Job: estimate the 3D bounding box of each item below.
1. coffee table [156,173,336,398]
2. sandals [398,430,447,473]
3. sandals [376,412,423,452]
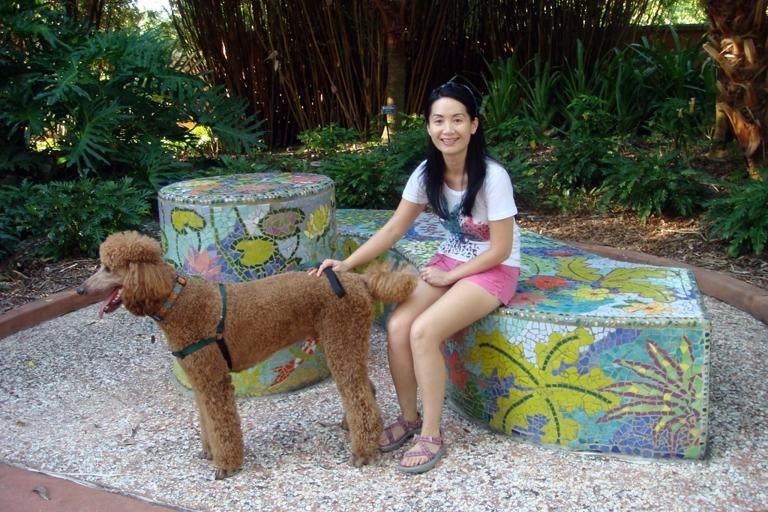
[{"bbox_3d":[-0.874,0.139,5.011,1.578,1.592,1.491,-2,14,-2],"label":"coffee table"},{"bbox_3d":[0.254,1.225,3.861,0.201,0.160,0.408,-6,6,37],"label":"sandals"},{"bbox_3d":[0.114,1.142,4.050,0.362,0.139,0.144,-22,28,-31],"label":"sandals"}]
